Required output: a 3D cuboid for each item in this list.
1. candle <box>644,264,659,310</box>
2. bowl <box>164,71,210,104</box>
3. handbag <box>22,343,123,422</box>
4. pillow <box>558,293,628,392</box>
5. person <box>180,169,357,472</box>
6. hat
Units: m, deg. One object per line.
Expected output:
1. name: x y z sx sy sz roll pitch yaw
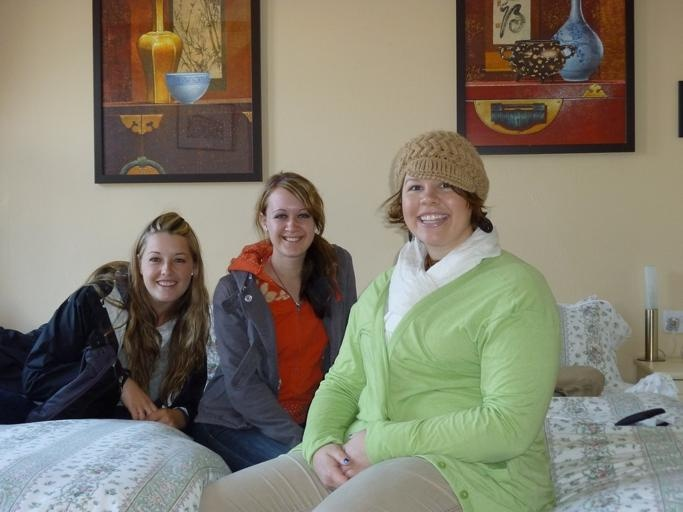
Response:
1. candle: 1.704 0.165 3.386 0.067 0.226 0.180 -1 2 26
2. bowl: -0.893 -0.987 3.562 0.192 0.143 0.196 -2 2 0
3. handbag: -1.043 0.512 2.428 0.304 0.134 0.247 -16 6 1
4. pillow: 1.266 0.451 3.225 0.400 0.442 0.131 12 -25 -20
5. person: -0.197 0.302 2.487 0.714 1.207 0.784 -9 18 -41
6. hat: 0.303 -0.259 2.072 0.333 0.264 0.410 -1 9 18
